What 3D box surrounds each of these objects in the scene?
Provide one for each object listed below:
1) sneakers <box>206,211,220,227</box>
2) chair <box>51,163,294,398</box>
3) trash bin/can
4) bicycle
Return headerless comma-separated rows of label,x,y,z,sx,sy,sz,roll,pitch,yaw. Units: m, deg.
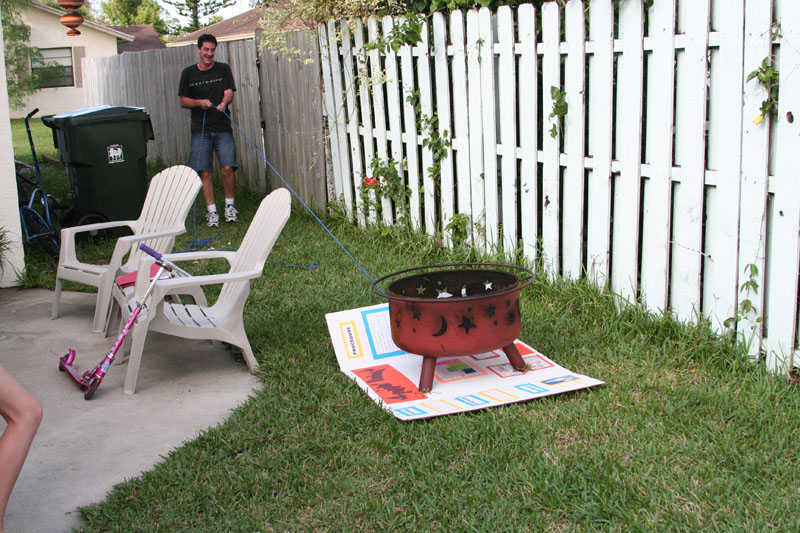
sneakers,-2.420,-0.584,8.690,0.130,0.209,0.201,8,-27,-25
chair,-1.509,0.046,4.960,1.669,1.356,1.186,-5,15,-32
trash bin/can,-3.584,-1.297,8.273,1.282,1.805,1.235,-7,14,-29
bicycle,-4.641,-1.216,8.549,0.388,1.546,4.161,-9,16,-27
